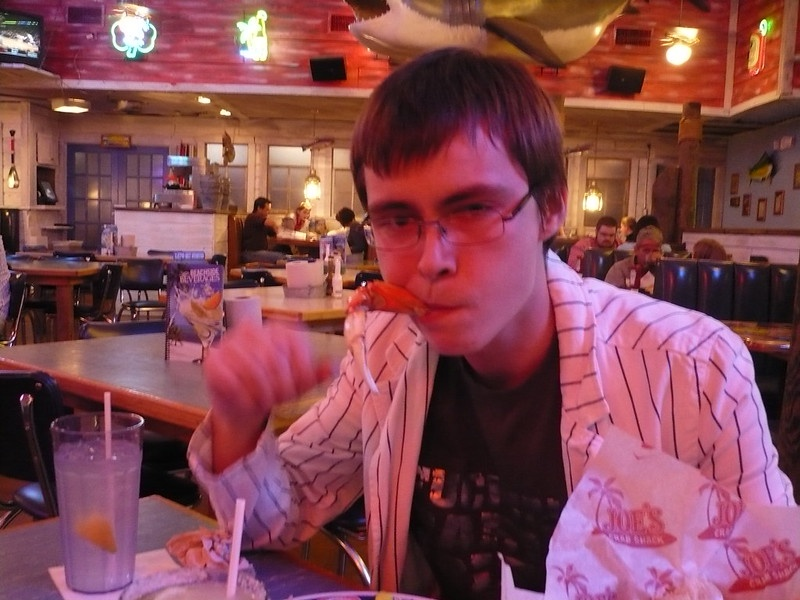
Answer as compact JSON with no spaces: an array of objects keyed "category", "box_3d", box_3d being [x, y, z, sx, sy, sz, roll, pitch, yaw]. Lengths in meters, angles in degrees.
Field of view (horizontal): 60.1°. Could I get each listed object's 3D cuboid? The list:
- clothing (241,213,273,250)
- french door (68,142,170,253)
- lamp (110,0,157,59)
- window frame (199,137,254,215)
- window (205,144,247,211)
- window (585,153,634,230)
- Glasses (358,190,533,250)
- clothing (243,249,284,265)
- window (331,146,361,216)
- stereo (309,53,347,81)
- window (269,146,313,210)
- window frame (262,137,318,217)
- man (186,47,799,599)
[{"category":"clothing","box_3d":[-2.129,-1.027,10.223,0.456,0.536,0.506,-5,9,-13]},{"category":"french door","box_3d":[-5.307,-1.853,12.939,1.852,2.344,0.055,0,-21,-19]},{"category":"lamp","box_3d":[-4.172,-4.153,10.676,0.720,0.862,0.606,0,4,-11]},{"category":"window frame","box_3d":[-3.247,-2.229,12.919,0.739,1.469,0.039,-1,-18,-14]},{"category":"window","box_3d":[-3.286,-2.237,12.893,0.788,1.536,0.055,5,-33,-27]},{"category":"window","box_3d":[3.988,-2.002,13.265,0.847,0.073,1.701,2,-41,14]},{"category":"Glasses","box_3d":[0.095,-0.142,1.329,0.279,0.094,0.079,1,4,10]},{"category":"clothing","box_3d":[-1.932,-0.589,9.566,0.525,0.184,0.319,3,3,1]},{"category":"window","box_3d":[-0.996,-2.186,13.075,0.627,1.263,0.061,-9,10,-30]},{"category":"stereo","box_3d":[-1.088,-3.691,10.488,0.562,0.434,0.328,0,1,-3]},{"category":"window","box_3d":[-2.117,-2.174,13.021,0.759,1.240,0.063,1,-17,-10]},{"category":"window frame","box_3d":[-2.111,-2.150,13.027,0.728,1.298,0.126,1,-19,-9]},{"category":"man","box_3d":[0.155,0.076,1.488,1.174,1.205,0.412,1,4,2]}]
